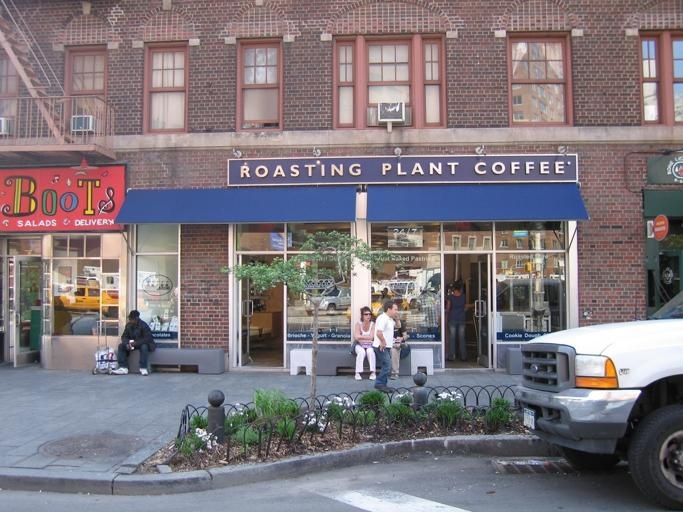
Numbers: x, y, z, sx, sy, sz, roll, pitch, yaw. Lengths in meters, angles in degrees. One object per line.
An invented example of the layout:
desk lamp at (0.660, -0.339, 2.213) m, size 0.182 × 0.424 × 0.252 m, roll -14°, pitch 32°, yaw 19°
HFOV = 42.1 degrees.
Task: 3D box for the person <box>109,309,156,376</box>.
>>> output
person at (-4.729, 1.993, 20.227) m, size 0.914 × 1.460 × 0.344 m, roll 0°, pitch -7°, yaw 5°

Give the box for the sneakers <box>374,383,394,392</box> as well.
sneakers at (0.874, 2.634, 17.633) m, size 0.459 × 0.216 × 0.174 m, roll -1°, pitch -3°, yaw 26°

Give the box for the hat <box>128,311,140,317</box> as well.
hat at (-4.744, 1.332, 20.331) m, size 0.210 × 0.188 × 0.387 m, roll 2°, pitch -7°, yaw -14°

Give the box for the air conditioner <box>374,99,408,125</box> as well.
air conditioner at (1.174, -3.238, 20.572) m, size 0.823 × 0.588 × 0.454 m, roll 0°, pitch -5°, yaw 2°

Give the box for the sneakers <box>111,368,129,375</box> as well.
sneakers at (-5.008, 2.614, 20.105) m, size 0.365 × 0.179 × 0.146 m, roll 3°, pitch -2°, yaw -12°

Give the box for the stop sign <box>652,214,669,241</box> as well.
stop sign at (7.098, -0.667, 19.676) m, size 0.277 × 0.606 × 0.618 m, roll -1°, pitch -7°, yaw 8°

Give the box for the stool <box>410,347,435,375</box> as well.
stool at (1.851, 2.385, 20.230) m, size 0.637 × 0.656 × 0.474 m, roll 0°, pitch -6°, yaw 2°

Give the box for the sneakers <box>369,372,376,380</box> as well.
sneakers at (0.685, 2.640, 19.461) m, size 0.103 × 0.133 × 0.319 m, roll -4°, pitch -11°, yaw 12°

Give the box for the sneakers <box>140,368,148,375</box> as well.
sneakers at (-4.460, 2.632, 20.099) m, size 0.197 × 0.163 × 0.303 m, roll 1°, pitch -7°, yaw -11°

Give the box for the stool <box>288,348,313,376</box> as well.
stool at (-0.919, 2.417, 20.185) m, size 0.532 × 0.581 × 0.550 m, roll 0°, pitch -2°, yaw 5°

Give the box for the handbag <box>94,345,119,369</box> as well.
handbag at (-5.356, 2.356, 20.341) m, size 0.511 × 0.521 × 0.402 m, roll 0°, pitch 3°, yaw -9°

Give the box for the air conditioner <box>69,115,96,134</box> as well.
air conditioner at (-6.060, -3.110, 20.853) m, size 0.666 × 0.408 × 0.479 m, roll 2°, pitch -7°, yaw -1°

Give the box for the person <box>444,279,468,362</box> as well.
person at (2.775, 1.554, 21.370) m, size 0.427 × 1.915 × 0.491 m, roll -1°, pitch -7°, yaw 6°
